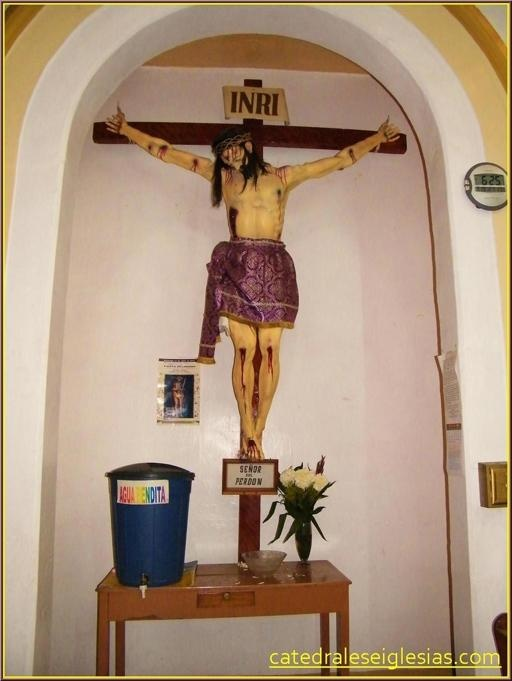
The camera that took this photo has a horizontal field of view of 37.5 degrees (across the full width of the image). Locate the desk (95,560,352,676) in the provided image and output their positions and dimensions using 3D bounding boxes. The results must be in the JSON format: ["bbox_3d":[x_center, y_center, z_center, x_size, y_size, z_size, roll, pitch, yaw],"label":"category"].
[{"bbox_3d":[-0.145,1.164,3.124,1.006,0.433,0.415,1,-10,-8],"label":"desk"}]

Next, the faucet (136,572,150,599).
[{"bbox_3d":[-0.436,0.939,2.905,0.026,0.094,0.051,1,13,-5],"label":"faucet"}]

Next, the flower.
[{"bbox_3d":[0.200,0.682,3.462,0.346,0.287,0.363,6,6,26],"label":"flower"}]

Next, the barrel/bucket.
[{"bbox_3d":[-0.348,0.728,2.989,0.394,0.468,0.417,-1,-19,0],"label":"barrel/bucket"}]
